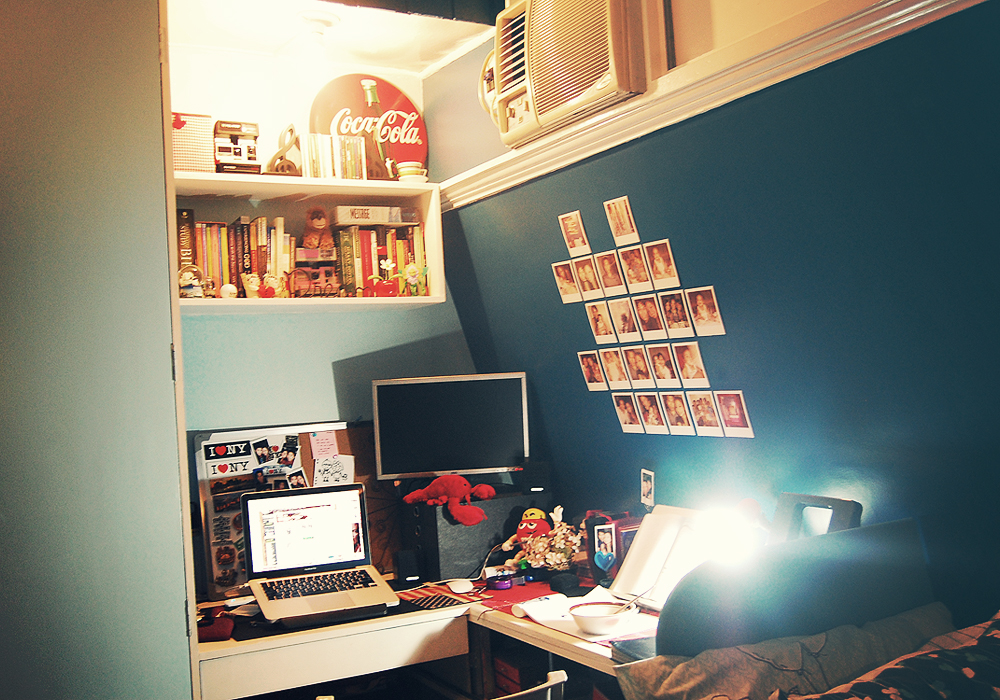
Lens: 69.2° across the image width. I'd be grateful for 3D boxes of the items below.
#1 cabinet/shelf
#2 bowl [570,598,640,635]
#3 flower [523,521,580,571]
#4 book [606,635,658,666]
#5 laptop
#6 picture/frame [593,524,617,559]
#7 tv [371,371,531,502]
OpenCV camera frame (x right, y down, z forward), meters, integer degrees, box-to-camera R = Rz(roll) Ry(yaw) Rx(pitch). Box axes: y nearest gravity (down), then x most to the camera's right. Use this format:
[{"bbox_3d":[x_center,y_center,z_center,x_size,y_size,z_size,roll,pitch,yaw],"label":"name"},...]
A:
[{"bbox_3d":[-0.812,-0.451,3.025,1.058,0.410,0.334,-1,-1,-7],"label":"cabinet/shelf"},{"bbox_3d":[0.325,0.855,2.320,0.147,0.053,0.098,0,-6,-7],"label":"bowl"},{"bbox_3d":[0.211,0.801,2.944,0.250,0.156,0.134,-7,-3,-3],"label":"flower"},{"bbox_3d":[0.381,0.852,2.053,0.099,0.025,0.098,1,-4,-36],"label":"book"},{"bbox_3d":[-0.706,0.775,2.745,0.508,0.302,0.495,-3,9,-24],"label":"laptop"},{"bbox_3d":[0.404,0.731,2.750,0.013,0.156,0.125,9,-14,-41],"label":"picture/frame"},{"bbox_3d":[-0.216,0.381,3.140,0.629,0.408,0.022,-2,-3,-7],"label":"tv"}]
